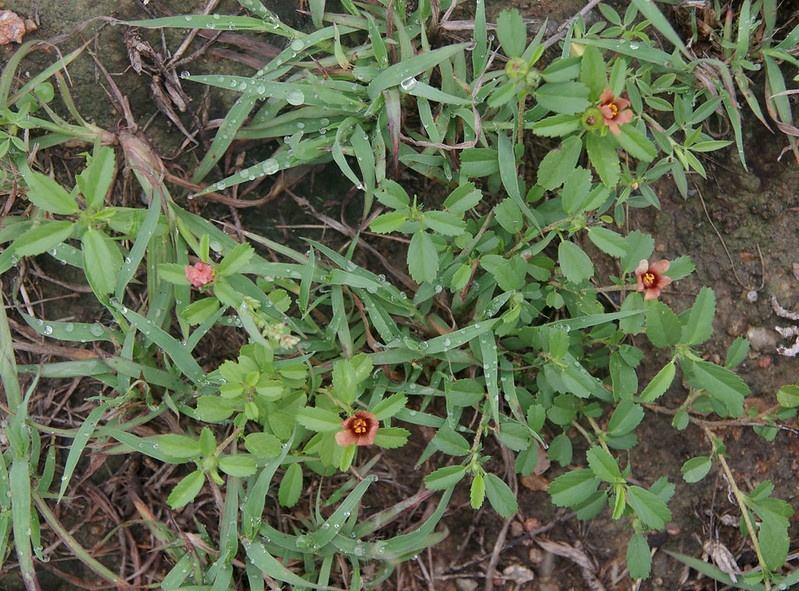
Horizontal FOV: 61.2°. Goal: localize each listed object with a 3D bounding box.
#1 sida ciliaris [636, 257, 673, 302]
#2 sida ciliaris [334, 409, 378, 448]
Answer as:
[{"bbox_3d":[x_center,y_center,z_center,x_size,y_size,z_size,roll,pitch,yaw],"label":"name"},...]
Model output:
[{"bbox_3d":[1.111,-0.059,2.996,0.163,0.200,0.162,-3,77,3],"label":"sida ciliaris"},{"bbox_3d":[-0.157,0.547,2.774,0.160,0.228,0.103,-6,101,17],"label":"sida ciliaris"}]
